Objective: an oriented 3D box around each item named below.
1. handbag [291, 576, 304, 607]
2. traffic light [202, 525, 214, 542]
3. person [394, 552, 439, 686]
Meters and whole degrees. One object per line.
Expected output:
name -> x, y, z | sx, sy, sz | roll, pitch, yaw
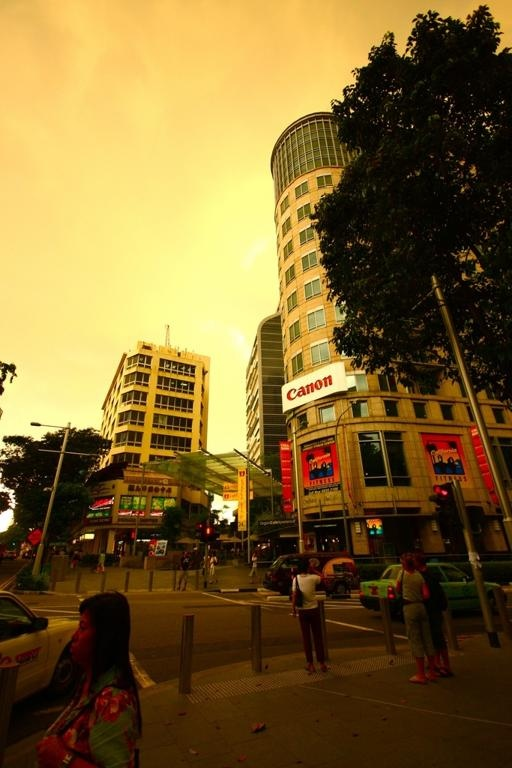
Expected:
handbag -> 0.587, 3.023, 6.340 | 0.128, 0.407, 0.219 | 1, -22, -9
traffic light -> -2.141, 6.767, 19.864 | 0.638, 0.714, 0.390 | 0, -22, -6
person -> 2.101, 3.039, 5.791 | 0.397, 1.453, 0.442 | -8, -23, 13
